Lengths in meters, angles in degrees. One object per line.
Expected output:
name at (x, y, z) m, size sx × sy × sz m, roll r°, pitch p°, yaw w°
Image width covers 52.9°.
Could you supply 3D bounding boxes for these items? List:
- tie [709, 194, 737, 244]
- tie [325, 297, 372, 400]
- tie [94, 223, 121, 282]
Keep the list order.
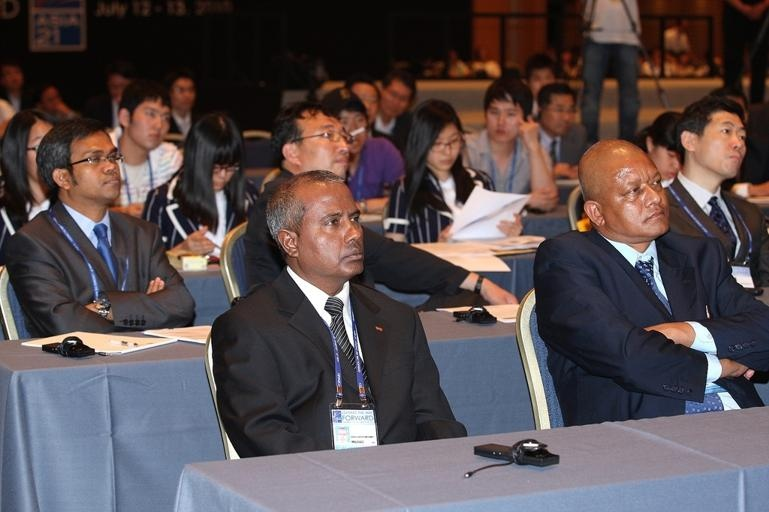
tie at (1.666, -0.179, 3.833) m, size 0.058 × 0.240 × 0.139 m, roll -14°, pitch -1°, yaw 39°
tie at (-0.133, 0.311, 2.508) m, size 0.118 × 0.441 × 0.039 m, roll -2°, pitch 29°, yaw 13°
tie at (-1.244, -0.023, 3.467) m, size 0.076 × 0.308 × 0.046 m, roll -19°, pitch -11°, yaw 2°
